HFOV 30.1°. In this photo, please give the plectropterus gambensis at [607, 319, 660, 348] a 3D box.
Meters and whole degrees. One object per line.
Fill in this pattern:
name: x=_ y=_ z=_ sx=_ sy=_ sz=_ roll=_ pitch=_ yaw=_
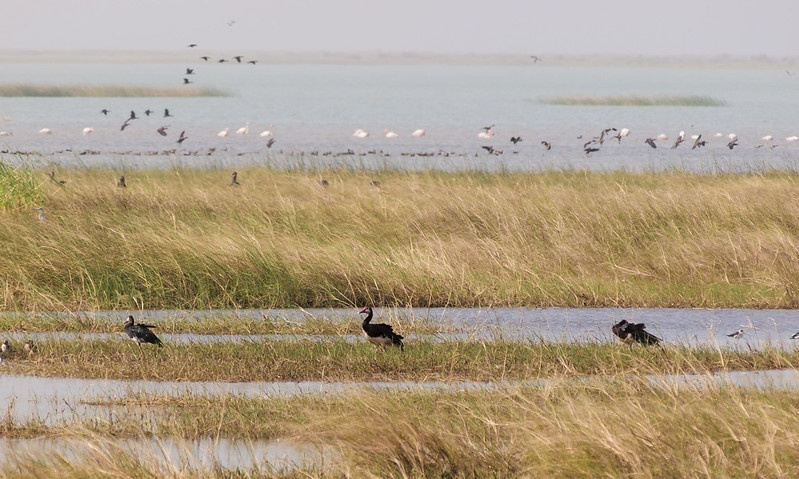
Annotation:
plectropterus gambensis: x=8.452 y=3.430 z=53.187 sx=1.152 sy=0.610 sz=1.261 roll=-15 pitch=-4 yaw=8
